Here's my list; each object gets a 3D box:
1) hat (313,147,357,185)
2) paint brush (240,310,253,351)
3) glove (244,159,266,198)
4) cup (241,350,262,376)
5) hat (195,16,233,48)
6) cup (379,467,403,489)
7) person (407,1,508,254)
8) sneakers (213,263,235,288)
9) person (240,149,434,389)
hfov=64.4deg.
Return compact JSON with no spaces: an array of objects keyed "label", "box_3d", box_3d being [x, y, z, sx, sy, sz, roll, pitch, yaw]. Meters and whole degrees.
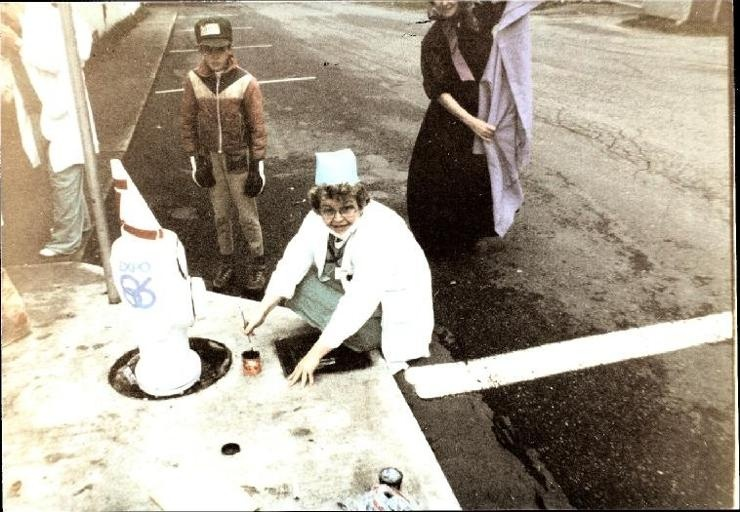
[{"label":"hat","box_3d":[-0.197,-0.523,3.507,0.259,0.191,0.228,5,34,1]},{"label":"paint brush","box_3d":[-0.828,0.502,3.895,0.034,0.256,0.027,-23,24,-33]},{"label":"glove","box_3d":[-0.850,-0.563,4.305,0.114,0.274,0.109,5,28,6]},{"label":"cup","box_3d":[-0.741,0.656,3.702,0.138,0.159,0.141,0,9,0]},{"label":"hat","box_3d":[-1.033,-1.465,3.847,0.178,0.125,0.241,-3,21,-1]},{"label":"cup","box_3d":[0.113,1.207,3.226,0.135,0.058,0.135,3,35,-2]},{"label":"person","box_3d":[0.625,-0.868,4.255,0.650,1.763,0.475,5,34,1]},{"label":"sneakers","box_3d":[-1.126,0.143,4.473,0.112,0.209,0.048,19,-13,-6]},{"label":"person","box_3d":[-0.184,0.041,3.782,1.326,1.326,0.989,-20,31,-41]}]
